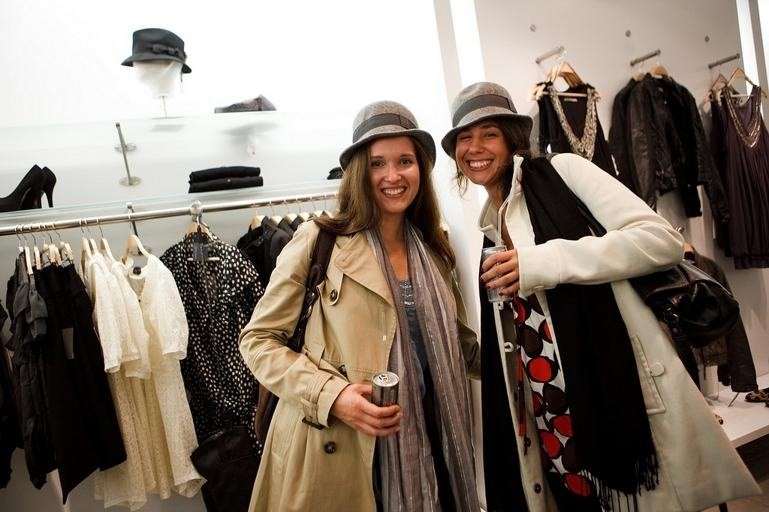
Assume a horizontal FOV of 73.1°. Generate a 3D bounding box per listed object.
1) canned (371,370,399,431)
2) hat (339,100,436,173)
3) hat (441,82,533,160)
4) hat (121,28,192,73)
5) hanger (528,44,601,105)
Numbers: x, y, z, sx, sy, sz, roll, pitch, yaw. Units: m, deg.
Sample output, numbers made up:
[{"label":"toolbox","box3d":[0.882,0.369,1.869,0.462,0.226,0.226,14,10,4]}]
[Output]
[{"label":"canned","box3d":[0.006,0.673,2.421,0.129,0.167,0.139,9,27,16]},{"label":"hat","box3d":[0.040,-0.637,2.819,0.393,0.233,0.378,16,-34,-39]},{"label":"hat","box3d":[0.578,-0.837,3.034,0.468,0.320,0.552,-4,-5,-16]},{"label":"hat","box3d":[-1.645,-1.513,3.787,0.314,0.191,0.349,3,4,40]},{"label":"hanger","box3d":[1.356,-1.404,3.999,0.490,0.314,0.087,-17,-7,-43]}]
